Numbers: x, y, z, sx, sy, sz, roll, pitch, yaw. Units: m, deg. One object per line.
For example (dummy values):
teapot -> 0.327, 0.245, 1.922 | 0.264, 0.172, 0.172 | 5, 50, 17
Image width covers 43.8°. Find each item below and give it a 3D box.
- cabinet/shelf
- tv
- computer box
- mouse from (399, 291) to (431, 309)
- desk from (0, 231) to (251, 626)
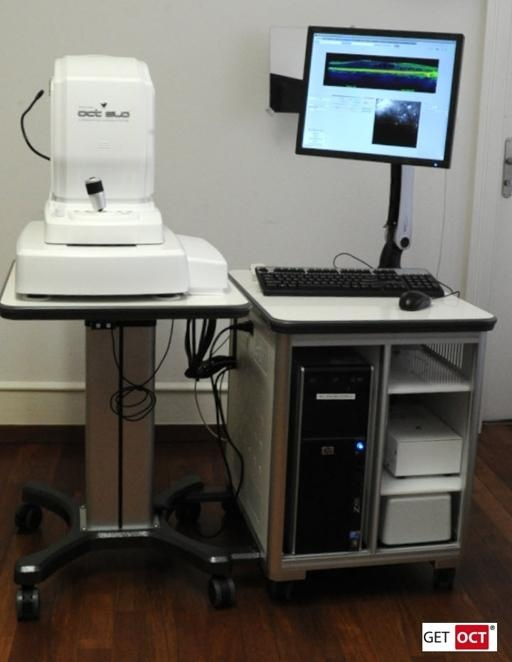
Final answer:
cabinet/shelf -> 0.221, 0.200, 1.754 | 0.455, 0.832, 0.771 | -1, 11, -1
tv -> 0.313, -0.616, 1.655 | 0.429, 0.484, 0.067 | 7, 18, 13
computer box -> 0.182, 0.205, 1.564 | 0.219, 0.595, 0.325 | -2, 33, 0
mouse -> 0.362, -0.068, 1.443 | 0.074, 0.040, 0.062 | 2, 10, 1
desk -> -0.341, 0.267, 1.635 | 0.583, 1.161, 0.707 | 1, 10, -4
